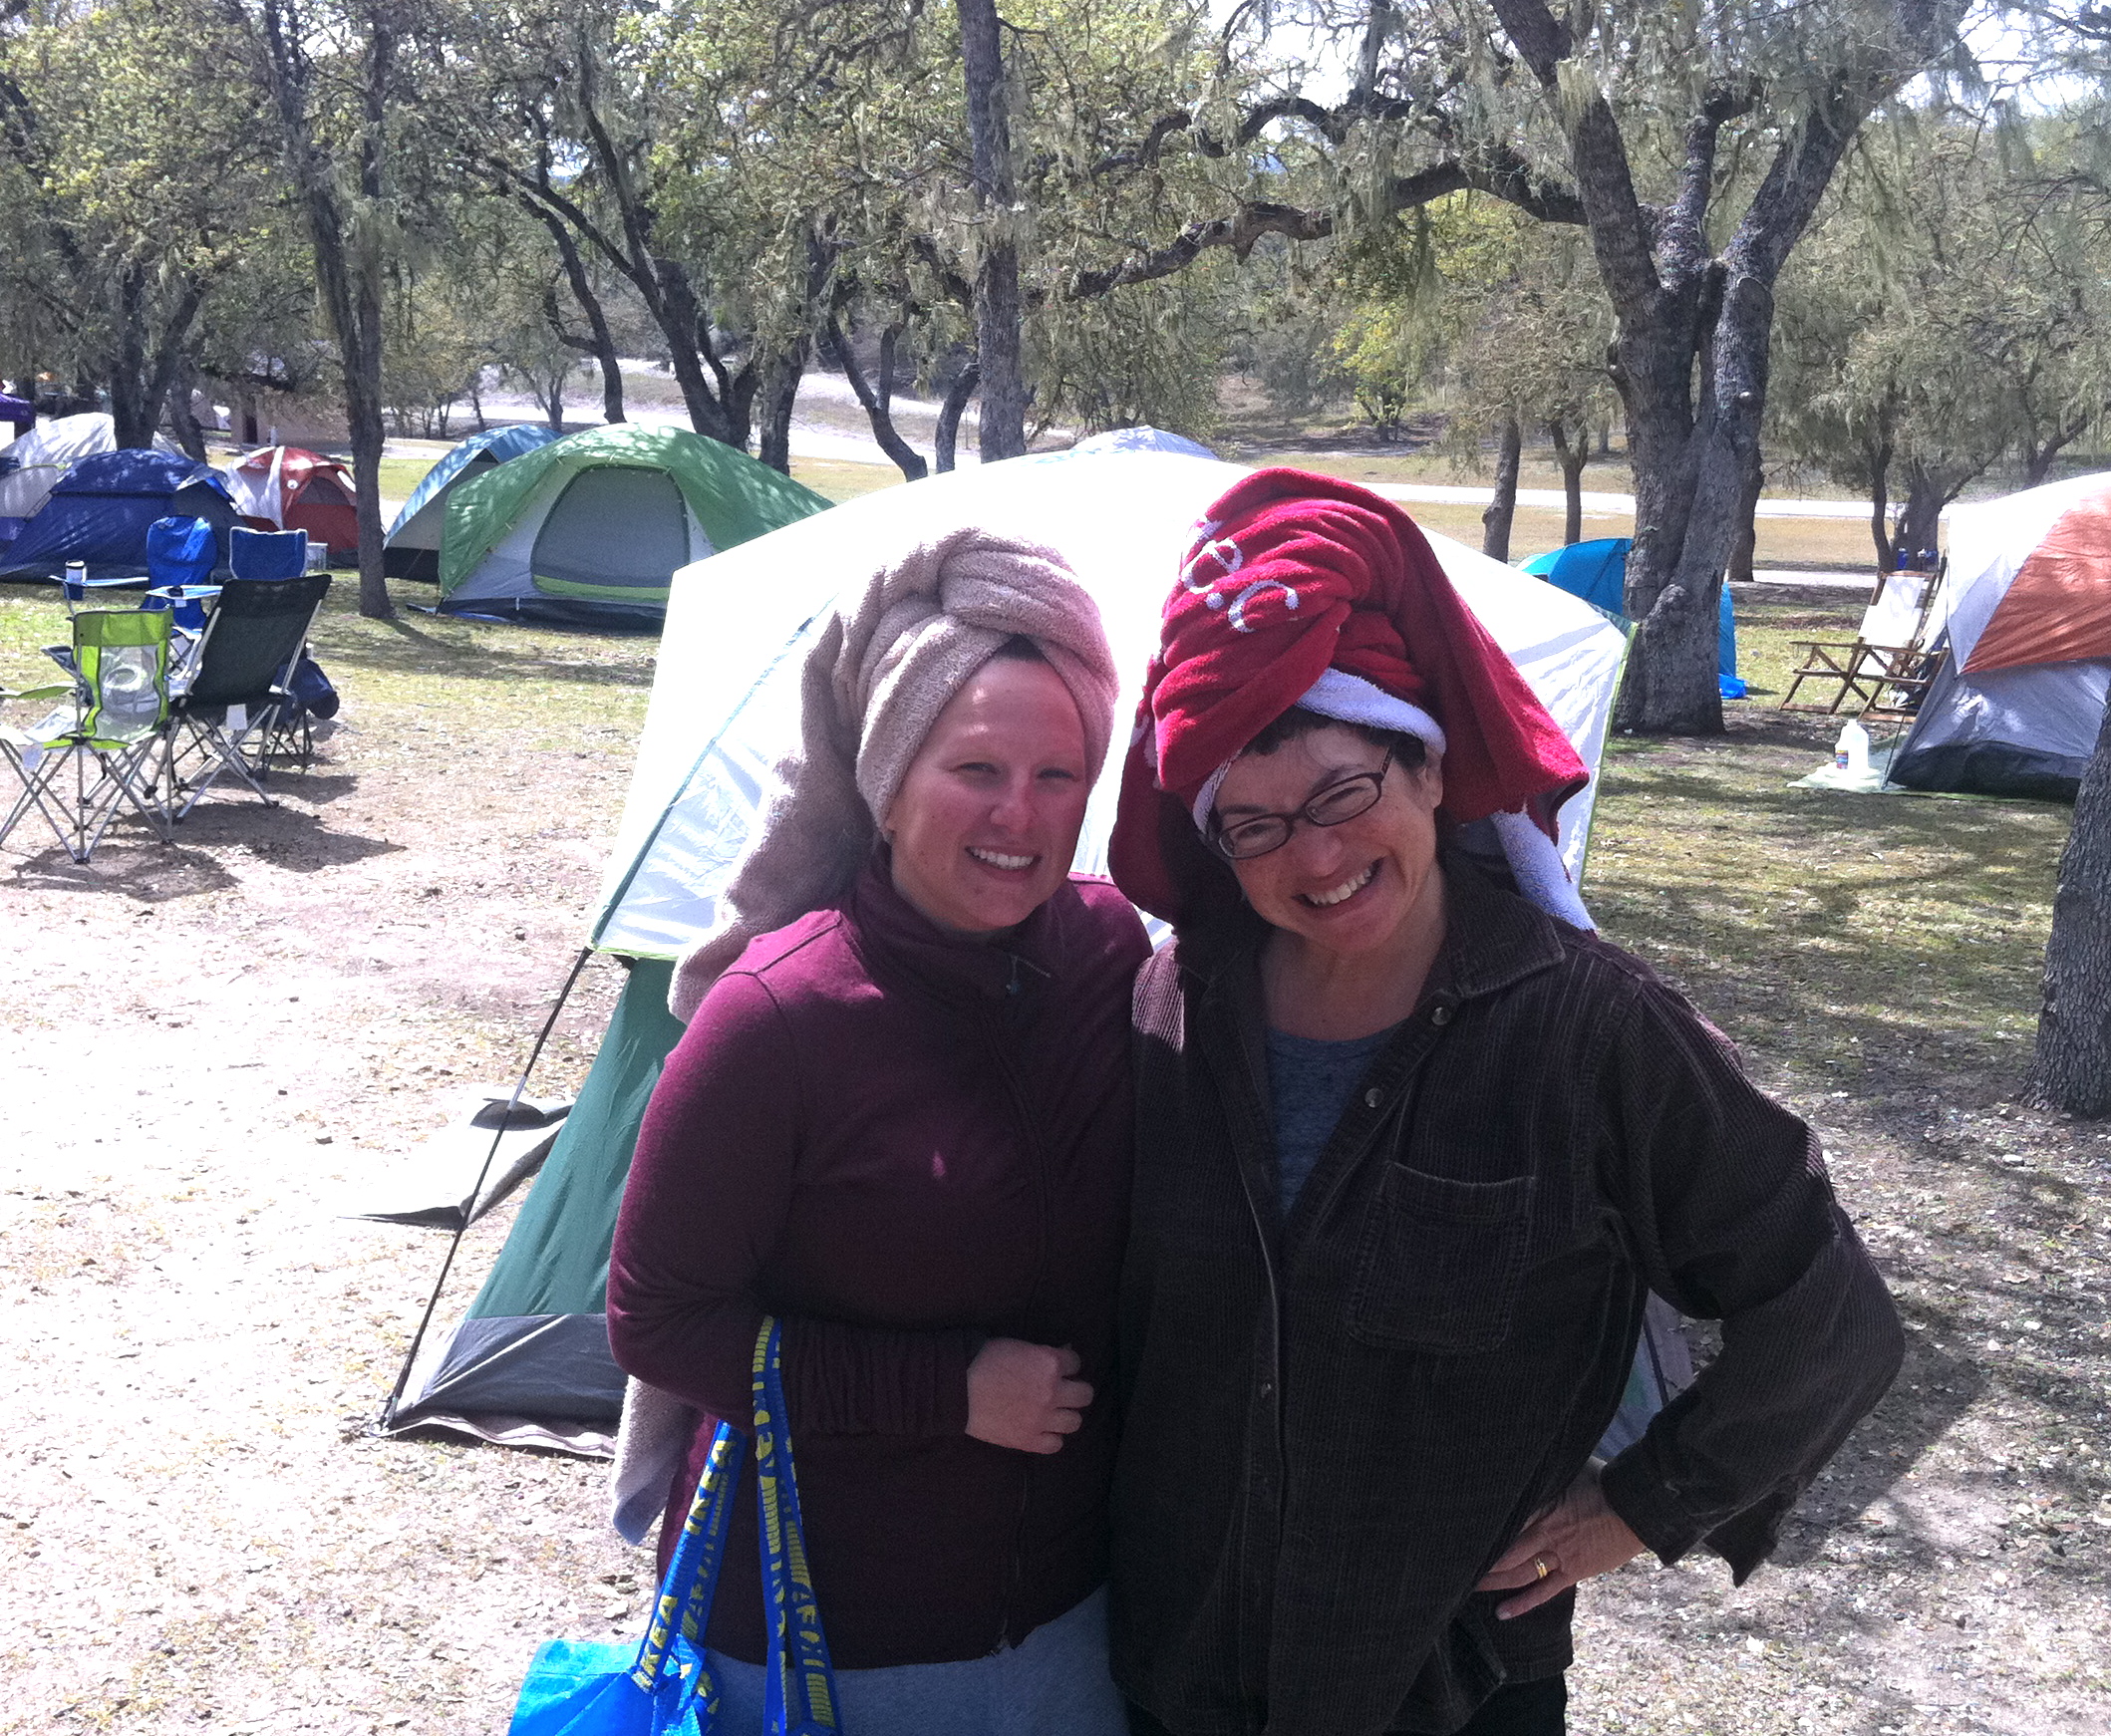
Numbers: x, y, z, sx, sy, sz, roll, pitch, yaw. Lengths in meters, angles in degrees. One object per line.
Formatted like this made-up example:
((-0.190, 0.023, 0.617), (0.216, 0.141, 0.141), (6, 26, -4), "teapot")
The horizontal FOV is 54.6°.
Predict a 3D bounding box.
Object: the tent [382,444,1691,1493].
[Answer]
((-0.169, -0.052, 5.090), (2.552, 1.875, 2.760), (3, 11, 5), "tent")

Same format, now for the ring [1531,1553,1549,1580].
((0.610, 0.876, 2.566), (0.019, 0.030, 0.007), (-4, -31, 15), "ring")
